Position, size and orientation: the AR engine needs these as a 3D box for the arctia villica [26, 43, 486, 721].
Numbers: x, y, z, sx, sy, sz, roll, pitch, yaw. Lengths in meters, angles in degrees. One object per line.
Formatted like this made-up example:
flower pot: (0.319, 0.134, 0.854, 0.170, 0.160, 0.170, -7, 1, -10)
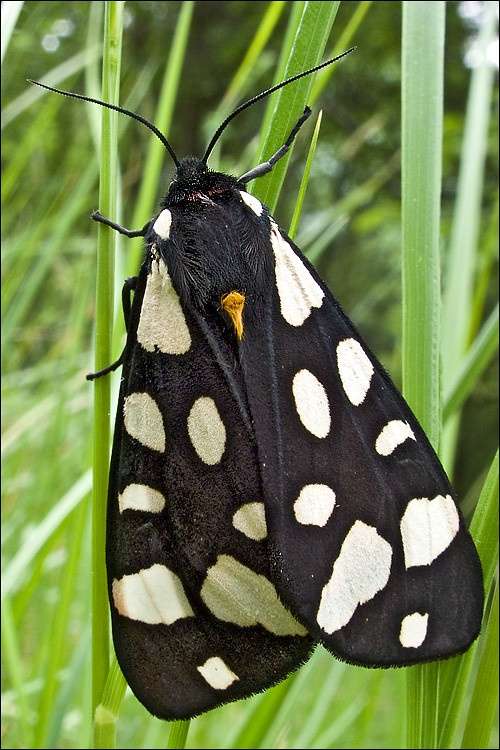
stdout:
arctia villica: (0.008, 0.089, 0.802, 0.430, 0.159, 0.741, -12, 77, 10)
